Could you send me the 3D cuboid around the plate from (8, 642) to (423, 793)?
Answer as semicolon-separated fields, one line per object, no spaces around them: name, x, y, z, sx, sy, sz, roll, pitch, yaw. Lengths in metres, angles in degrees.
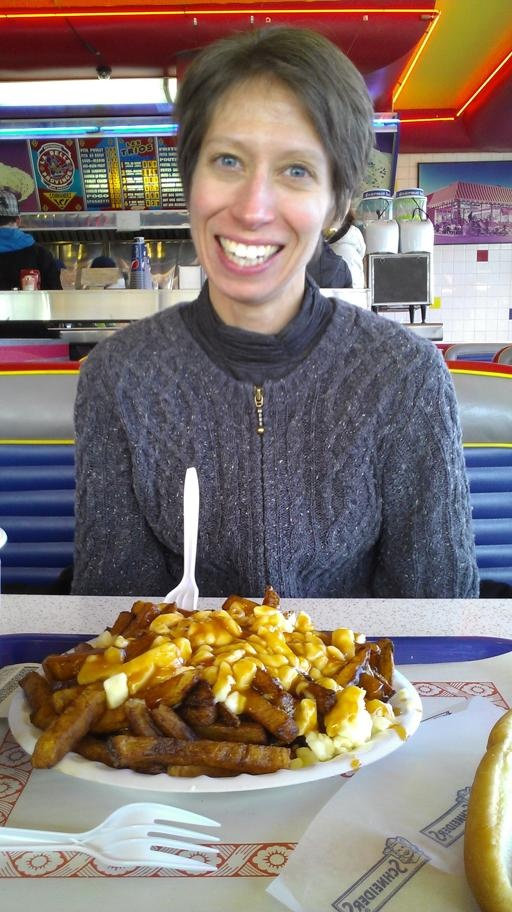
plate;-0.028;0.211;0.497;0.322;0.035;0.152;-2;6;-6

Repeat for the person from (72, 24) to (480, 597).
person;0.011;-0.209;1.166;0.689;0.979;0.329;2;7;24

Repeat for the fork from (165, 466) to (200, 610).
fork;-0.083;0.111;0.802;0.033;0.197;0.028;0;-13;11
